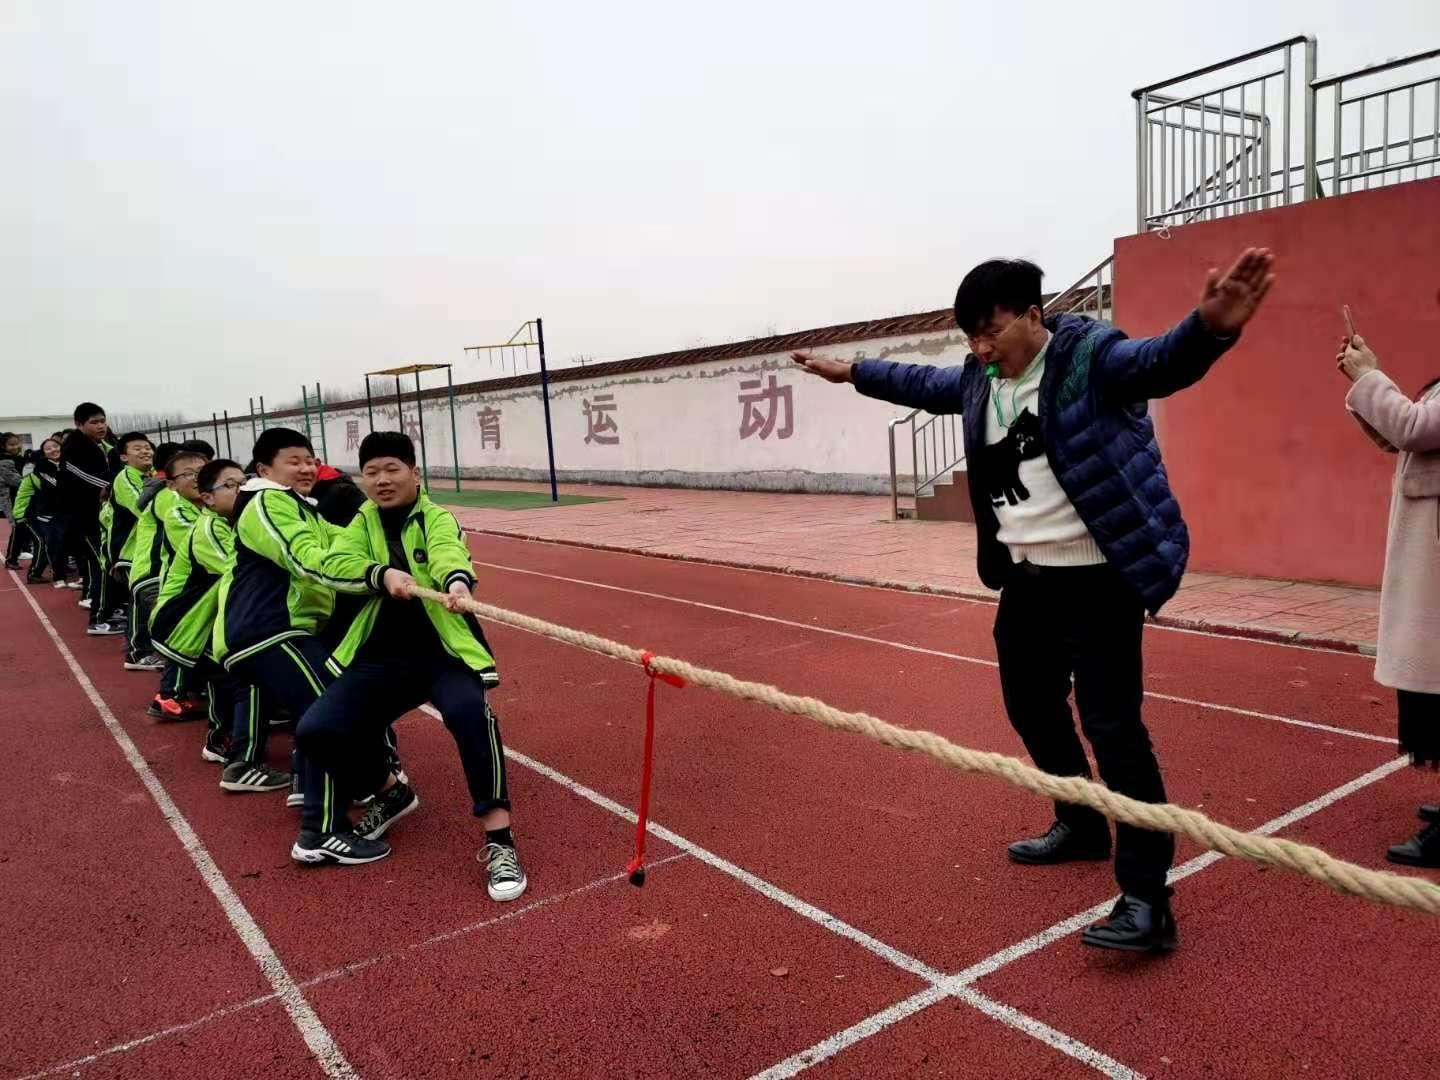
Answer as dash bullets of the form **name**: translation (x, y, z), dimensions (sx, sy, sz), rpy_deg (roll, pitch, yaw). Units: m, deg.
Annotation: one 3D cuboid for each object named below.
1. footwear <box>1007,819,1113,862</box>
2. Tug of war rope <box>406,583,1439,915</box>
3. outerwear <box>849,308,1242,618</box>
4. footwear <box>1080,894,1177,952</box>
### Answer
- **footwear**: translation (1.468, 1.296, 4.324), dimensions (0.467, 0.230, 0.182), rpy_deg (0, -6, 0)
- **Tug of war rope**: translation (0.993, 1.042, 4.850), dimensions (4.748, 0.222, 0.356), rpy_deg (15, -1, 33)
- **outerwear**: translation (1.287, -0.298, 3.742), dimensions (0.350, 1.075, 1.314), rpy_deg (-10, 14, -37)
- **footwear**: translation (1.503, 1.402, 3.679), dimensions (0.362, 0.196, 0.172), rpy_deg (6, -12, -17)
